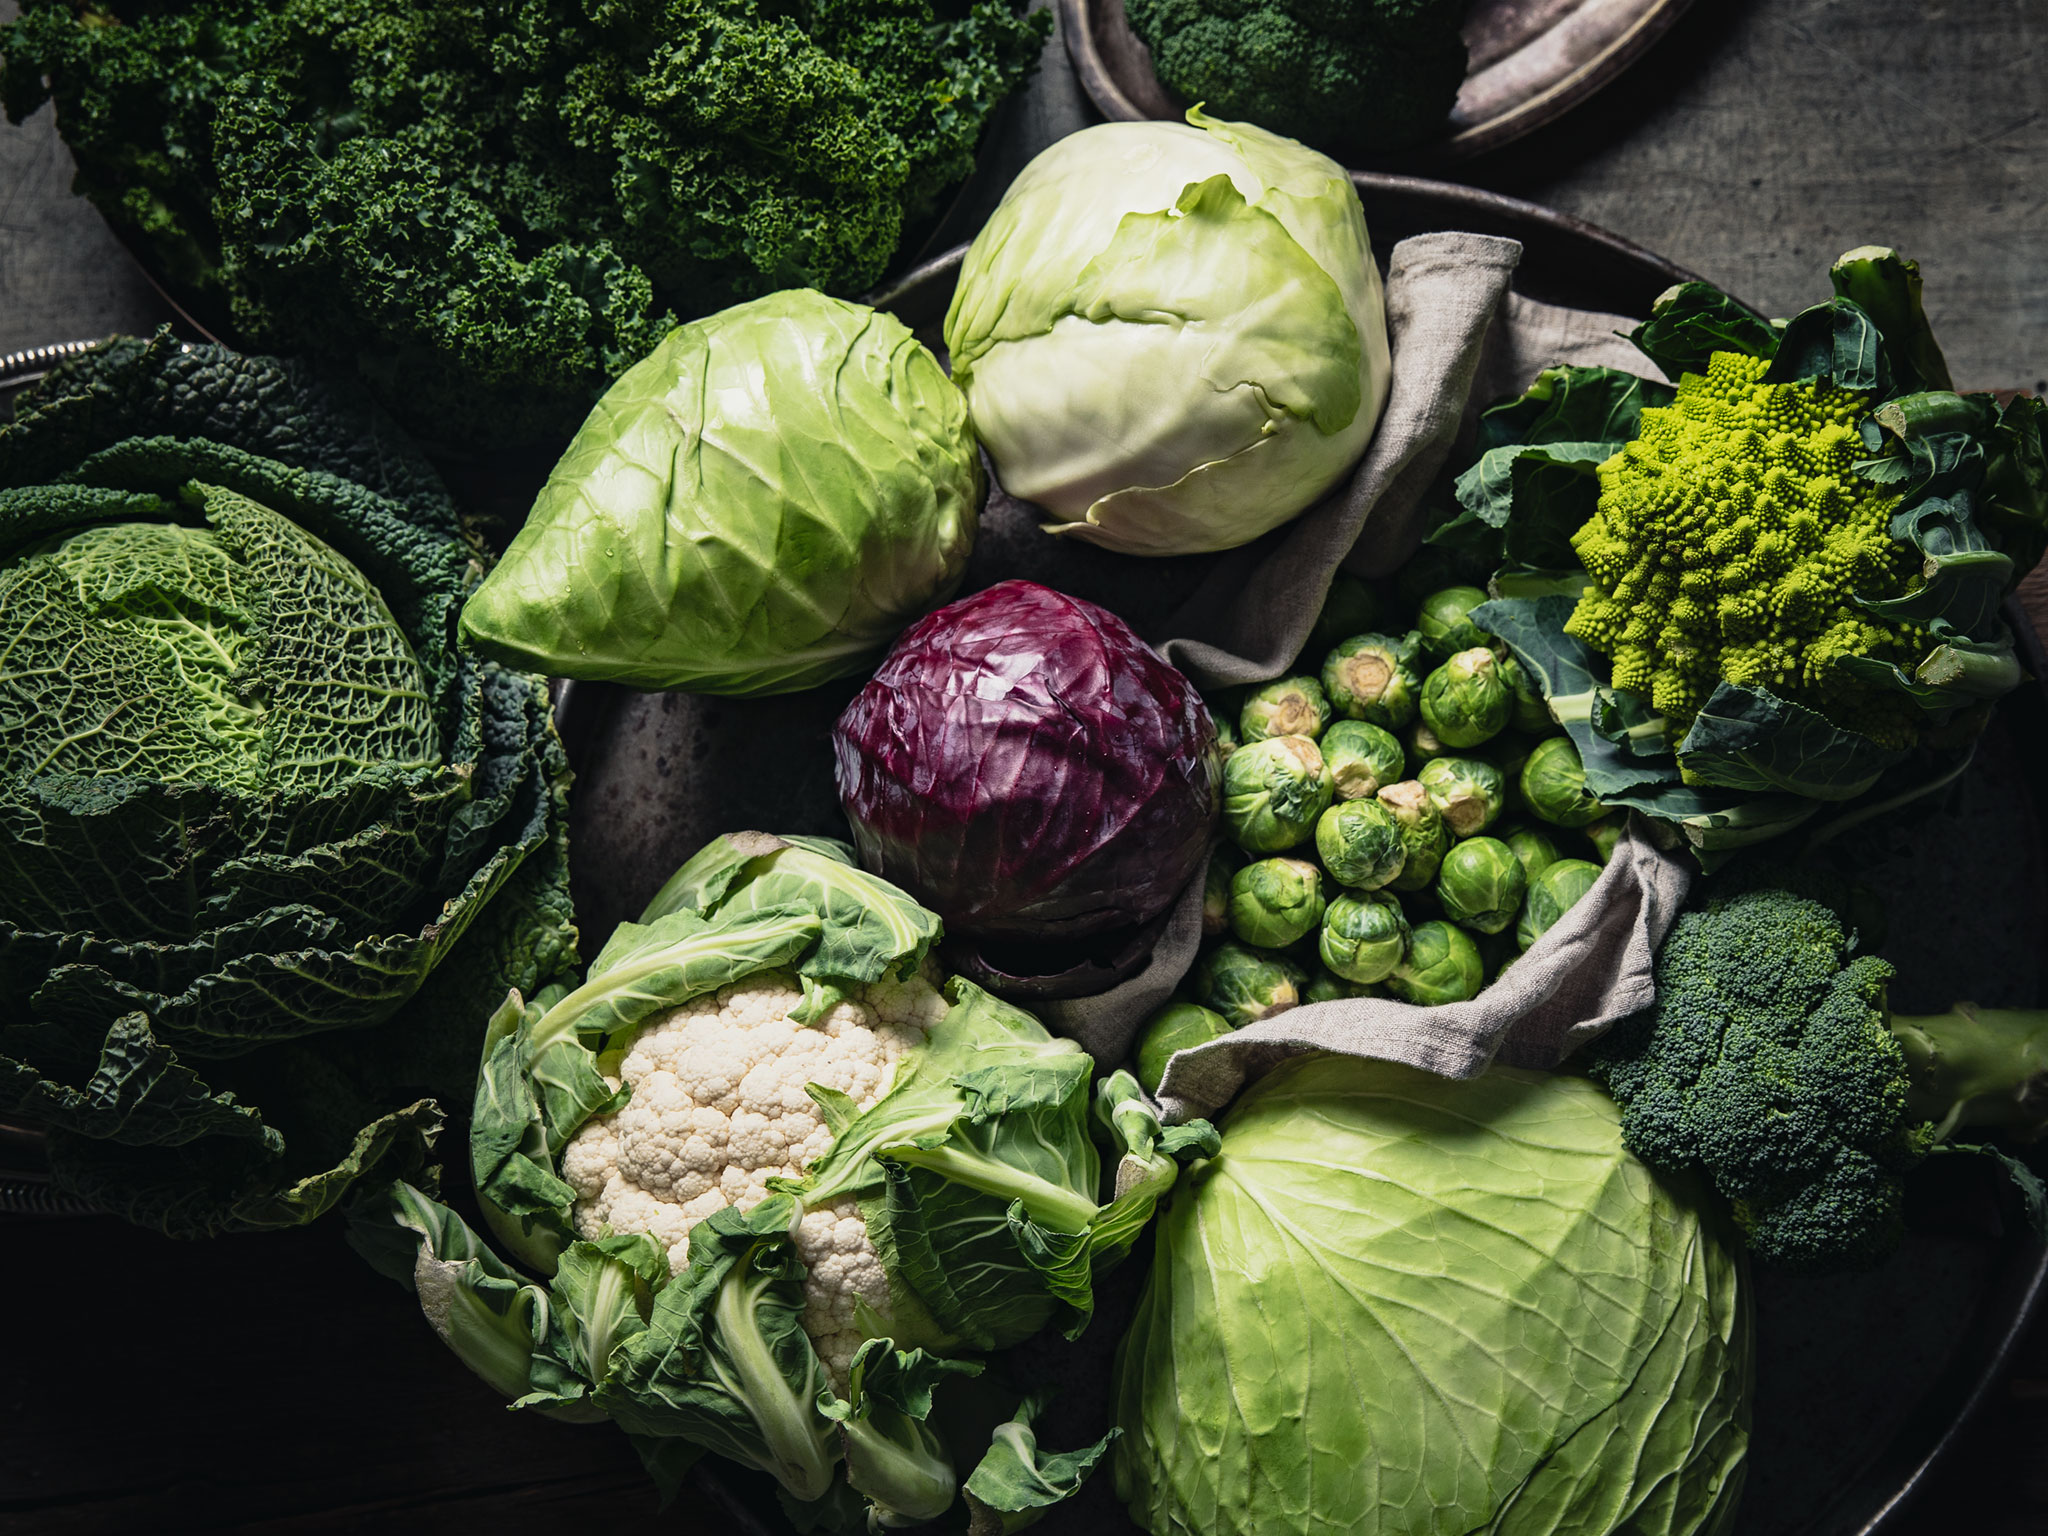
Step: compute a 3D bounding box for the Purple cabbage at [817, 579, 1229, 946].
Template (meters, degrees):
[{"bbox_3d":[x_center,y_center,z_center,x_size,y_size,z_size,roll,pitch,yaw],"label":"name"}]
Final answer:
[{"bbox_3d":[0.006,0.001,2.524,0.370,0.466,0.433,-2,72,6],"label":"Purple cabbage"}]
